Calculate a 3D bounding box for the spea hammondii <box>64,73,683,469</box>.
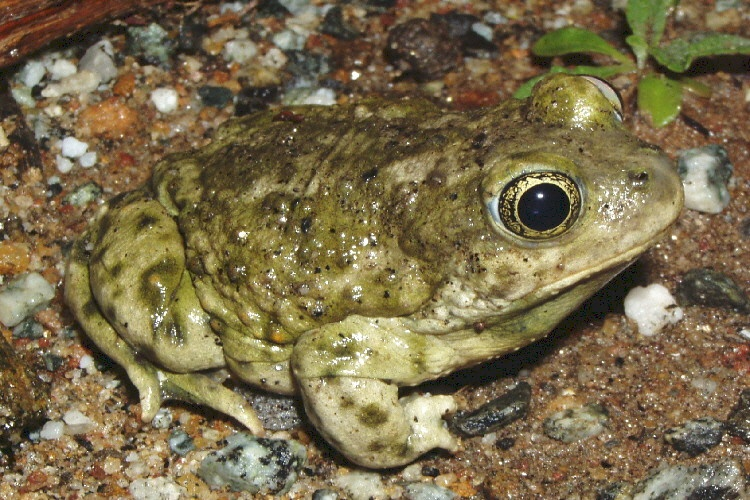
[{"bbox_3d":[-0.007,-0.039,4.697,2.928,0.772,1.982,-21,84,0],"label":"spea hammondii"}]
